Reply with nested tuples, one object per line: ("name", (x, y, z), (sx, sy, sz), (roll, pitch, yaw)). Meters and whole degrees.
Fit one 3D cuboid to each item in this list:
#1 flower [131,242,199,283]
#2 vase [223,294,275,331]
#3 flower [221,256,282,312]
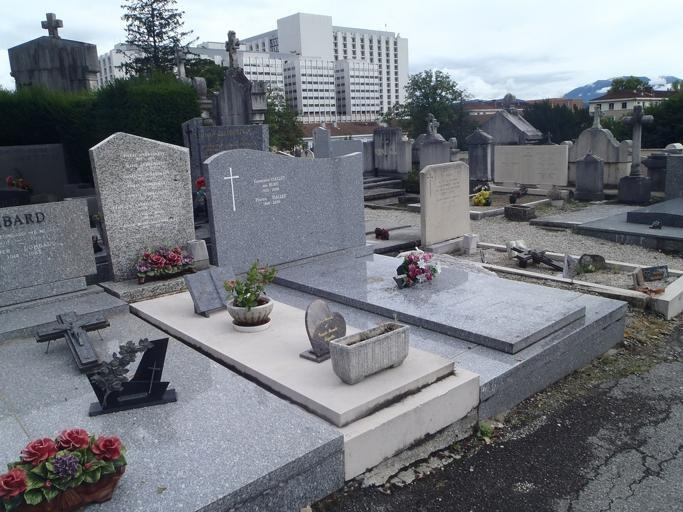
("flower", (-2.521, 0.101, 7.311), (0.771, 0.431, 0.308), (-11, 16, -26))
("vase", (-1.049, 0.647, 5.929), (0.499, 0.314, 0.507), (-8, 18, -25))
("flower", (-1.125, 0.372, 5.909), (0.568, 0.421, 0.575), (5, 21, 19))
